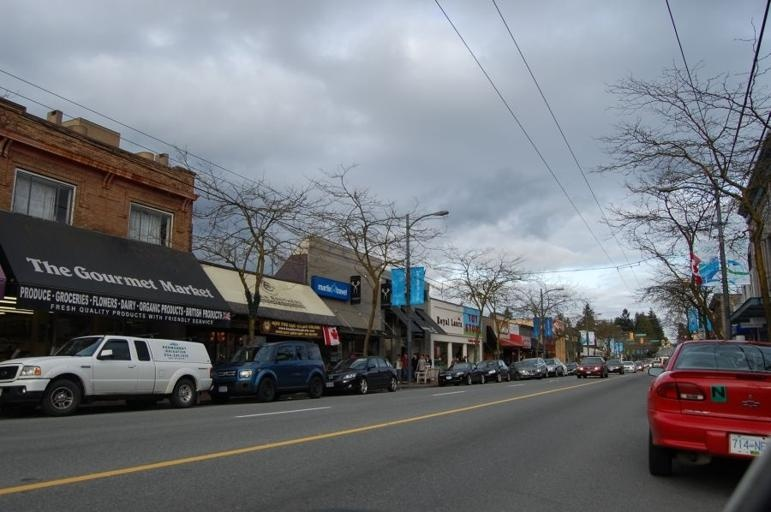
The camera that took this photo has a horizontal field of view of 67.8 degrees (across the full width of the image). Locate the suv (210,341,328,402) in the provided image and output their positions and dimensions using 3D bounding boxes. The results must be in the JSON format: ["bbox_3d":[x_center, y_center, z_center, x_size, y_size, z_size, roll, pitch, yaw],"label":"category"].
[{"bbox_3d":[-4.342,4.339,21.802,1.449,2.245,4.454,-9,-15,36],"label":"suv"}]

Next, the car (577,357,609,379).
[{"bbox_3d":[16.169,8.696,45.119,1.507,1.327,2.619,-8,-24,20],"label":"car"}]

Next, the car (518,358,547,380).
[{"bbox_3d":[11.495,8.790,44.893,1.225,1.066,3.117,-6,-23,16],"label":"car"}]

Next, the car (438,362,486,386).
[{"bbox_3d":[4.825,7.305,35.572,1.236,0.937,2.830,-11,-20,25],"label":"car"}]

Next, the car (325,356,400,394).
[{"bbox_3d":[-1.136,5.438,26.163,1.317,1.670,4.110,-9,-15,36],"label":"car"}]
